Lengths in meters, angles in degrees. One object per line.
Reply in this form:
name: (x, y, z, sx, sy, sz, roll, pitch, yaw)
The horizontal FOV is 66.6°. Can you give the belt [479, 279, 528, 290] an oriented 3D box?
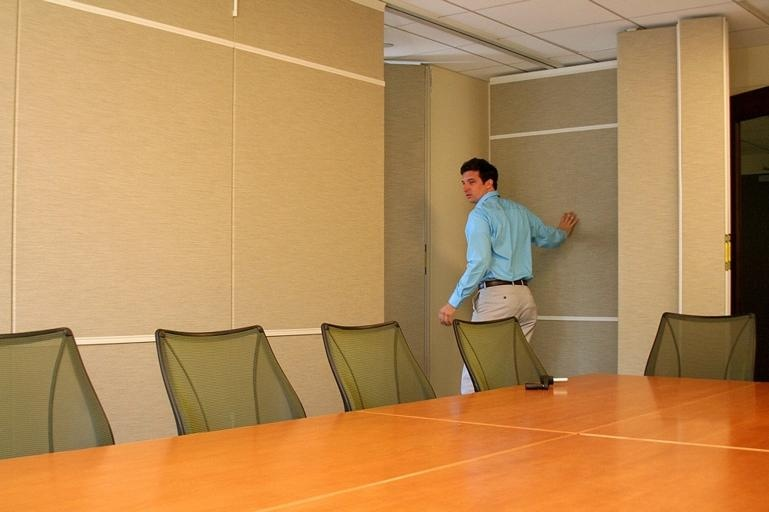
belt: (1.190, 0.275, 5.835, 0.455, 0.092, 0.156, 0, -1, 4)
